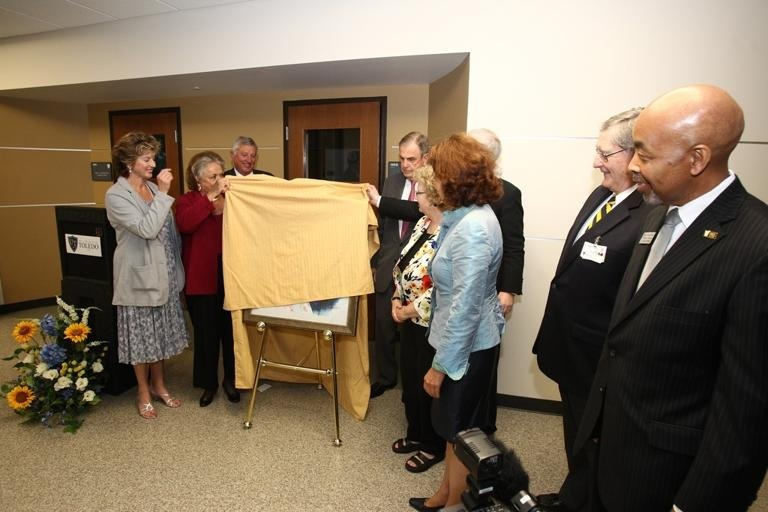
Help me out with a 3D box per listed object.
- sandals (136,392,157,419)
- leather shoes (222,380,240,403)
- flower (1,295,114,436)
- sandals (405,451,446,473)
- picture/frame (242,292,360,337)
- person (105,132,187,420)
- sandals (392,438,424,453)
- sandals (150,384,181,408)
[{"bbox_3d":[-1.857,1.165,4.273,0.086,0.117,0.260,3,1,-38],"label":"sandals"},{"bbox_3d":[-1.254,1.077,4.473,0.080,0.071,0.232,-18,30,-25],"label":"leather shoes"},{"bbox_3d":[-2.557,0.797,4.259,0.741,0.902,0.591,0,11,0],"label":"flower"},{"bbox_3d":[0.271,1.406,3.835,0.255,0.083,0.104,3,-1,-43],"label":"sandals"},{"bbox_3d":[-0.575,0.402,3.988,0.742,0.248,0.076,2,11,10],"label":"picture/frame"},{"bbox_3d":[-1.832,0.137,4.244,0.526,2.140,0.424,-5,12,-25],"label":"person"},{"bbox_3d":[0.173,1.353,3.946,0.217,0.094,0.090,3,15,0],"label":"sandals"},{"bbox_3d":[-1.778,1.123,4.423,0.184,0.077,0.070,30,23,2],"label":"sandals"}]
